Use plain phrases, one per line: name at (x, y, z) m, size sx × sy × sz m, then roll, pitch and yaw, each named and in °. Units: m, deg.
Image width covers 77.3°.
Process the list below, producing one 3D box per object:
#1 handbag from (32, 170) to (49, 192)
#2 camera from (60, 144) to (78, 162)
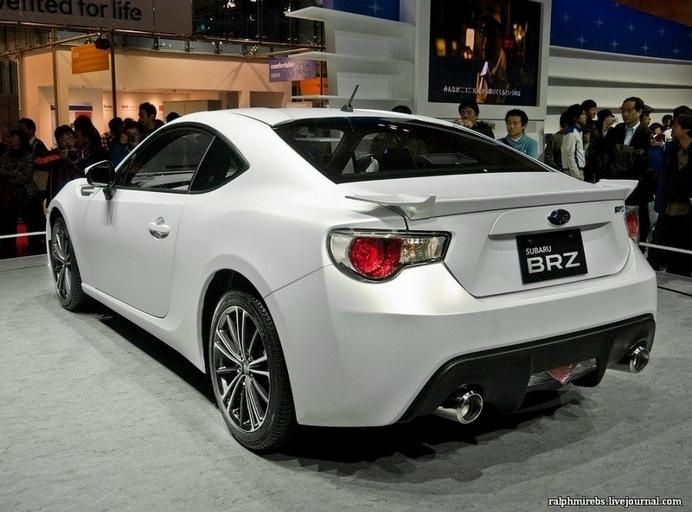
handbag at (-5.420, -1.344, 7.664) m, size 0.248 × 0.306 × 0.285 m, roll 0°, pitch 17°, yaw -16°
camera at (-4.722, -1.737, 7.361) m, size 0.207 × 0.300 × 0.271 m, roll -5°, pitch 10°, yaw -33°
